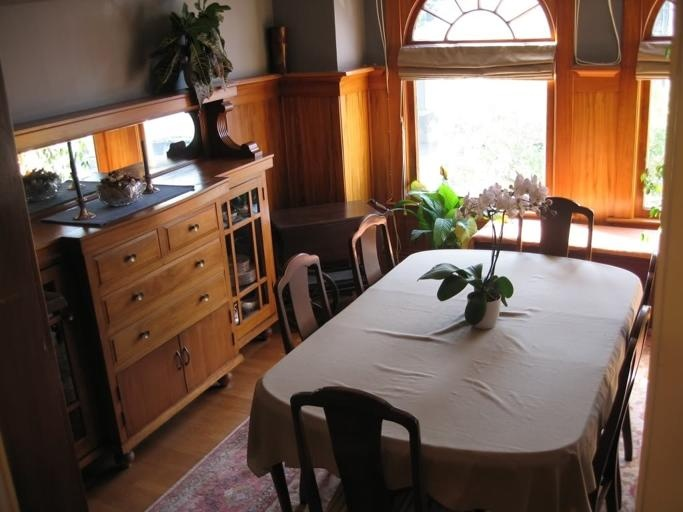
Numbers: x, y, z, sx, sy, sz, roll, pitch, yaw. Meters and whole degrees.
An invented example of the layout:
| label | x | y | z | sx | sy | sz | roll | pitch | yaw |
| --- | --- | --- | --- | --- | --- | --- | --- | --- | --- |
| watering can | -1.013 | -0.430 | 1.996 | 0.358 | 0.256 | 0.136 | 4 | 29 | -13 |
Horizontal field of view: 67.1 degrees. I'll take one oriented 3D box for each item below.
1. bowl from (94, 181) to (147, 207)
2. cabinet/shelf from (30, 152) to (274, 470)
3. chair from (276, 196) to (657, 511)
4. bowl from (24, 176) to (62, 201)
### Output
| label | x | y | z | sx | sy | sz | roll | pitch | yaw |
| --- | --- | --- | --- | --- | --- | --- | --- | --- | --- |
| bowl | -1.366 | -0.408 | 3.150 | 0.196 | 0.114 | 0.161 | 13 | 16 | 31 |
| cabinet/shelf | -1.182 | 0.219 | 3.649 | 0.680 | 1.666 | 1.795 | 13 | 28 | 22 |
| chair | 0.679 | 0.687 | 3.493 | 1.886 | 1.306 | 2.001 | 5 | 22 | 22 |
| bowl | -1.750 | -0.395 | 3.043 | 0.184 | 0.104 | 0.210 | 0 | 9 | 2 |
